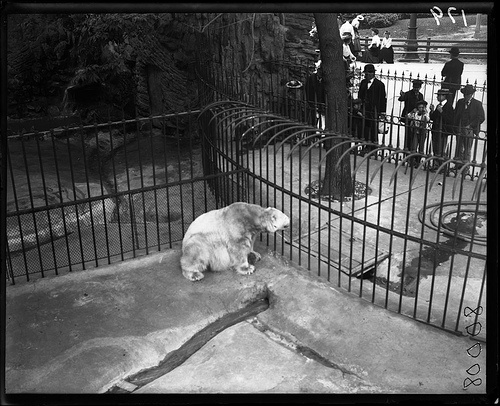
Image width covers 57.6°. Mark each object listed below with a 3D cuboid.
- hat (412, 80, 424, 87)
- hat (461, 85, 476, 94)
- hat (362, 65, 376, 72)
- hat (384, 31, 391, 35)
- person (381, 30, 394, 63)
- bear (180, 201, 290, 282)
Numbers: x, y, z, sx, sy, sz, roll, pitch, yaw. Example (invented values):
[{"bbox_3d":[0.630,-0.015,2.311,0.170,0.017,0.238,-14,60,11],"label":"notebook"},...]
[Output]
[{"bbox_3d":[4.485,-3.203,12.225,0.188,0.206,0.207,19,52,29],"label":"hat"},{"bbox_3d":[5.254,-2.717,10.989,0.251,0.127,0.308,-5,13,2],"label":"hat"},{"bbox_3d":[3.476,-3.908,13.219,0.290,0.242,0.355,3,18,16],"label":"hat"},{"bbox_3d":[4.745,-5.869,15.744,0.185,0.155,0.613,3,18,16],"label":"hat"},{"bbox_3d":[4.828,-5.459,16.003,0.433,1.078,0.911,3,17,15],"label":"person"},{"bbox_3d":[-0.273,0.500,7.800,1.695,1.180,0.976,-10,36,-6],"label":"bear"}]
